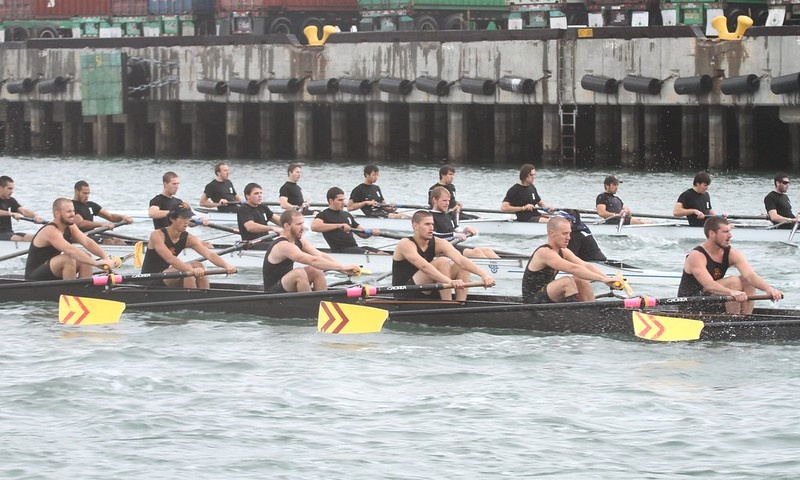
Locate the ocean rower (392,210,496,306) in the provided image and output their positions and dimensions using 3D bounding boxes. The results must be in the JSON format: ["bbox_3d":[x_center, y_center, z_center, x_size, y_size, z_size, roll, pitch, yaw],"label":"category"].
[{"bbox_3d":[0.875,0.551,30.093,2.156,1.805,1.192,16,20,40],"label":"ocean rower"}]

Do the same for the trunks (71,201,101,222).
[{"bbox_3d":[-7.269,-0.684,33.774,0.156,0.468,0.567,-34,-1,25],"label":"trunks"}]

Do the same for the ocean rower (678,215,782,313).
[{"bbox_3d":[6.523,0.362,29.393,1.727,1.685,0.625,0,5,7],"label":"ocean rower"}]

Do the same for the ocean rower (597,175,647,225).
[{"bbox_3d":[5.539,-0.850,35.481,0.933,1.126,1.675,-12,21,-20],"label":"ocean rower"}]

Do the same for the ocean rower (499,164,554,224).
[{"bbox_3d":[3.376,-1.008,36.333,1.644,1.738,1.186,0,13,9],"label":"ocean rower"}]

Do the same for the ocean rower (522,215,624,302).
[{"bbox_3d":[3.400,0.391,29.777,1.761,1.780,0.623,0,5,4],"label":"ocean rower"}]
